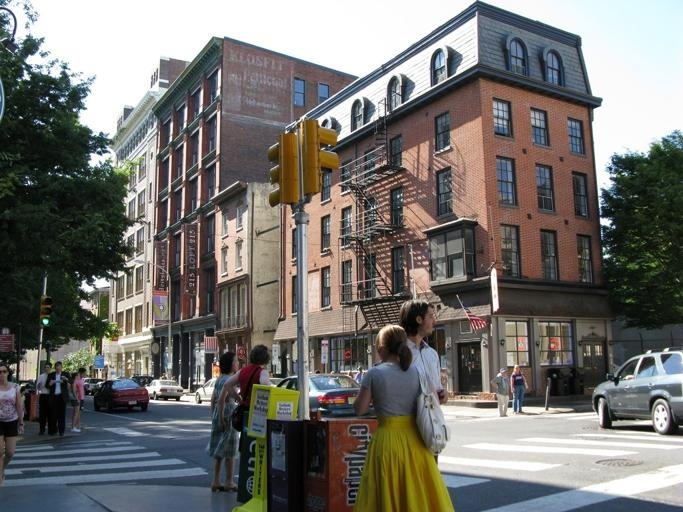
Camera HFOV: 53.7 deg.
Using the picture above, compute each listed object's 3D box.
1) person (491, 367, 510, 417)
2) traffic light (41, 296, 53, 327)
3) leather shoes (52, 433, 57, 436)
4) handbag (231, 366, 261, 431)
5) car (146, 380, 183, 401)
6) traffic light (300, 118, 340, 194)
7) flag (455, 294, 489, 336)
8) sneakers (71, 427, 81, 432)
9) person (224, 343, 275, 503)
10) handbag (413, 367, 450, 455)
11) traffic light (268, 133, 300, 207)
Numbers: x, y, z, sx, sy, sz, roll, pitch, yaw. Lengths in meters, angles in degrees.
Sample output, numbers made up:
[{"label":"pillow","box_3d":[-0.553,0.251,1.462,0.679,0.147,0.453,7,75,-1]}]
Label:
[{"label":"person","box_3d":[6.417,5.490,27.066,0.569,1.947,1.592,-4,-15,12]},{"label":"traffic light","box_3d":[-10.358,1.871,23.568,0.345,1.090,1.510,6,-17,-24]},{"label":"leather shoes","box_3d":[-9.375,5.820,21.960,0.166,0.110,0.426,6,-17,-23]},{"label":"handbag","box_3d":[-1.678,2.504,11.635,0.672,0.964,0.970,5,-8,-7]},{"label":"car","box_3d":[-11.884,9.068,45.453,1.627,1.452,2.460,12,-20,-40]},{"label":"traffic light","box_3d":[-0.377,-1.577,10.745,0.532,1.390,0.736,-4,-15,13]},{"label":"flag","box_3d":[6.312,2.642,32.468,1.137,2.016,1.930,-1,-15,2]},{"label":"sneakers","box_3d":[-9.293,6.121,23.635,0.402,0.184,0.175,-5,-9,34]},{"label":"person","box_3d":[-1.607,2.853,11.595,0.649,2.655,1.188,5,-16,-22]},{"label":"handbag","box_3d":[1.124,1.976,8.502,0.278,0.985,0.456,-12,-18,37]},{"label":"traffic light","box_3d":[-0.958,-1.426,11.020,0.414,1.406,0.968,3,-15,-14]}]
